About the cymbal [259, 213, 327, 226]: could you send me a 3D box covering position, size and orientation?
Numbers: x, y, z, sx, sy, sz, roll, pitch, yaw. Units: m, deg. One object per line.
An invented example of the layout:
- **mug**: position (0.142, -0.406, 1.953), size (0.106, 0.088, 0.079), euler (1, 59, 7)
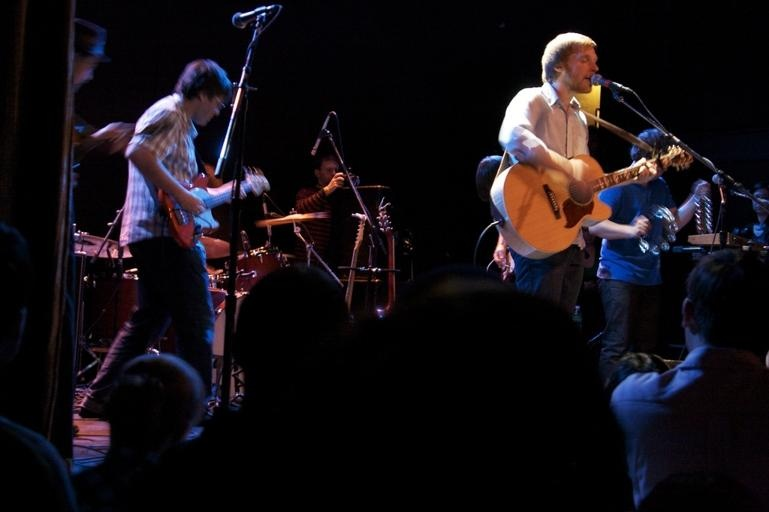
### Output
- **cymbal**: position (-0.816, -0.331, 5.763), size (0.324, 0.078, 0.326), euler (-2, 11, 1)

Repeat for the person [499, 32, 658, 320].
- **person**: position (1.019, -0.261, 3.685), size (0.680, 1.961, 0.827), euler (5, -1, 45)

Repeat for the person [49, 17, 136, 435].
- **person**: position (-1.366, -0.514, 2.915), size (0.302, 1.032, 0.230), euler (13, 12, 19)

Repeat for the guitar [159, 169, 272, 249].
- **guitar**: position (-0.970, -0.303, 3.645), size (0.702, 0.302, 0.088), euler (-32, 15, -35)

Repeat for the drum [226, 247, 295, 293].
- **drum**: position (-0.904, 0.160, 5.223), size (0.507, 0.370, 0.505), euler (-9, -3, 0)
